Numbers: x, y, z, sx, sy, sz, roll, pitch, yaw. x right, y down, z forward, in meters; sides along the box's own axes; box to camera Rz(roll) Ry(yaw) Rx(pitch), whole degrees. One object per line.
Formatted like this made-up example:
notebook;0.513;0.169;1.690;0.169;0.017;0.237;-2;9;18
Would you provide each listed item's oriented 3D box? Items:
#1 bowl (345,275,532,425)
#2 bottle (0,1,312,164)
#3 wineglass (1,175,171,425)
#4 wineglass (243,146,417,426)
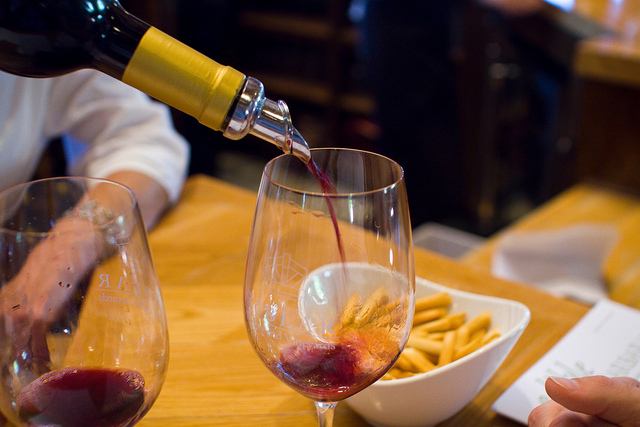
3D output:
bowl;0.132;0.154;0.640;0.185;0.082;0.156;-20;25;-40
bottle;-0.154;-0.121;0.553;0.292;0.140;0.072;10;34;14
wineglass;-0.215;0.082;0.531;0.144;0.192;0.139;-3;33;-4
wineglass;0.013;0.071;0.576;0.159;0.229;0.153;8;33;12
